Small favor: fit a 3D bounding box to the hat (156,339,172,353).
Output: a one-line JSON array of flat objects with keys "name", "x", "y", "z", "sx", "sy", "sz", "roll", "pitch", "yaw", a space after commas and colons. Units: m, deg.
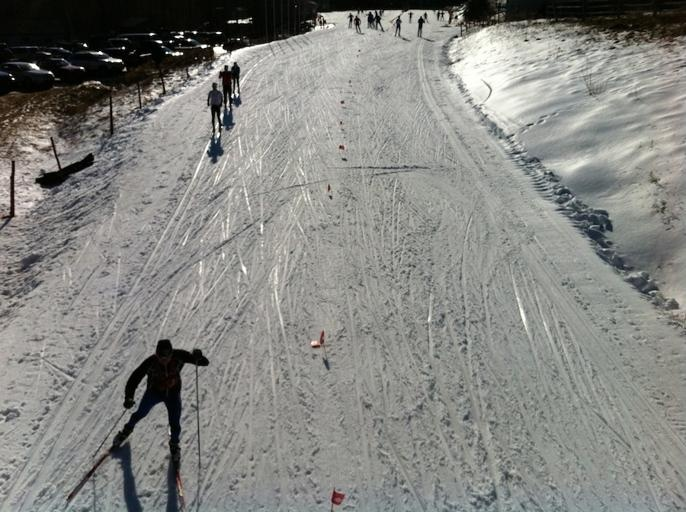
[{"name": "hat", "x": -3.680, "y": 1.818, "z": 12.331, "sx": 0.216, "sy": 0.296, "sz": 0.301, "roll": 6, "pitch": 23, "yaw": -6}]
